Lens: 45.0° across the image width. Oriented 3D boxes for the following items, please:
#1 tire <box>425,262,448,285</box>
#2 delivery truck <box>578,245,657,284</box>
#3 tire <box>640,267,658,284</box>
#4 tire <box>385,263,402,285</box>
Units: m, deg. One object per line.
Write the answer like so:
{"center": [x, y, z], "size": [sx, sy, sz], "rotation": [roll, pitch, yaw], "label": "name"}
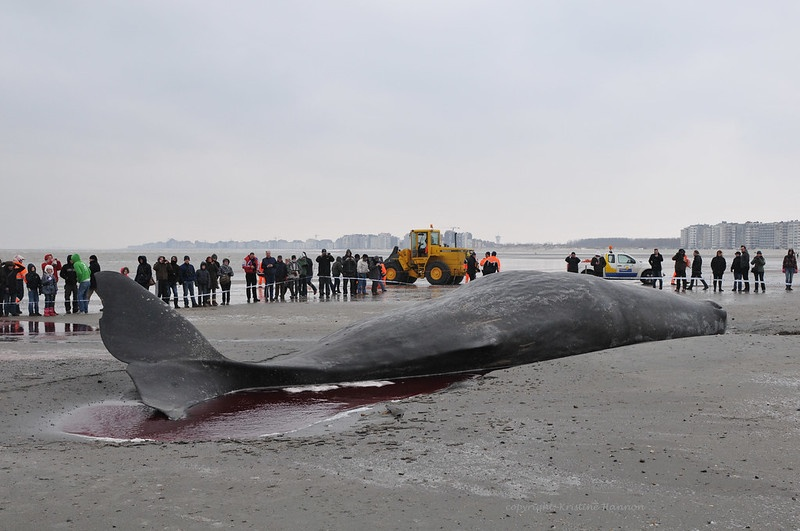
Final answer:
{"center": [1.305, 0.257, 36.345], "size": [0.754, 0.732, 0.263], "rotation": [-10, 9, 16], "label": "tire"}
{"center": [8.027, -0.036, 36.890], "size": [2.983, 1.384, 1.342], "rotation": [0, 5, 23], "label": "delivery truck"}
{"center": [8.611, 0.356, 33.975], "size": [0.224, 0.615, 0.635], "rotation": [1, 3, 33], "label": "tire"}
{"center": [-0.312, 0.298, 37.439], "size": [0.286, 0.779, 0.795], "rotation": [6, -7, -35], "label": "tire"}
